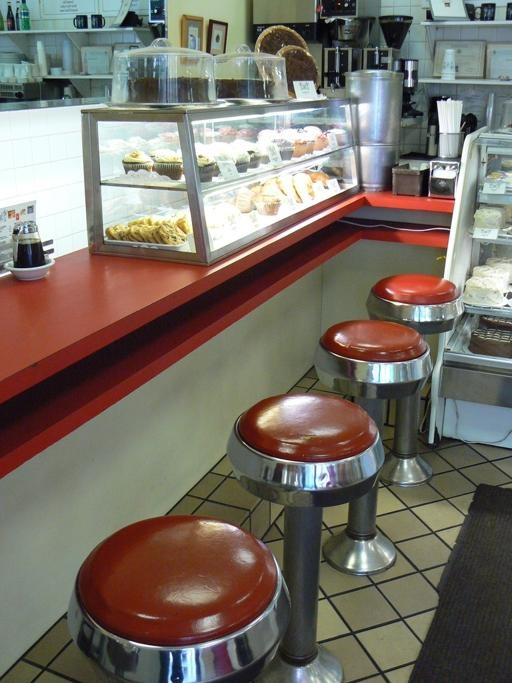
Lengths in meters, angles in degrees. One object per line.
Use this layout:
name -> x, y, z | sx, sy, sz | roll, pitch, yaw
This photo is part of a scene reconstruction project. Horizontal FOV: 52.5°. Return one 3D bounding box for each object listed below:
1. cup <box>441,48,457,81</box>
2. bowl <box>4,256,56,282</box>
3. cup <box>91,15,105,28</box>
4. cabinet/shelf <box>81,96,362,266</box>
cup -> 1.747, -2.464, 4.617 | 0.134, 0.265, 0.237 | 5, 23, 17
bowl -> -0.678, -0.208, 1.553 | 0.094, 0.033, 0.092 | -2, 31, 1
cup -> -0.585, -1.172, 1.896 | 0.059, 0.052, 0.035 | -9, 37, -17
cabinet/shelf -> -0.063, -0.765, 2.235 | 0.512, 0.547, 1.436 | 10, 25, 27
